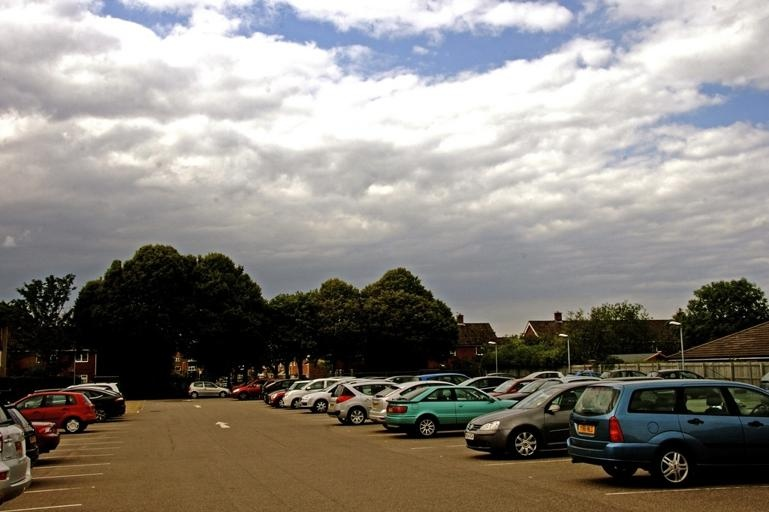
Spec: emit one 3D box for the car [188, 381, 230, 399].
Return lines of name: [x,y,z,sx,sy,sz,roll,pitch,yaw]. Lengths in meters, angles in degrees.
car: [-17.339,13.065,64.548,3.265,1.324,1.722,-1,-4,-12]
